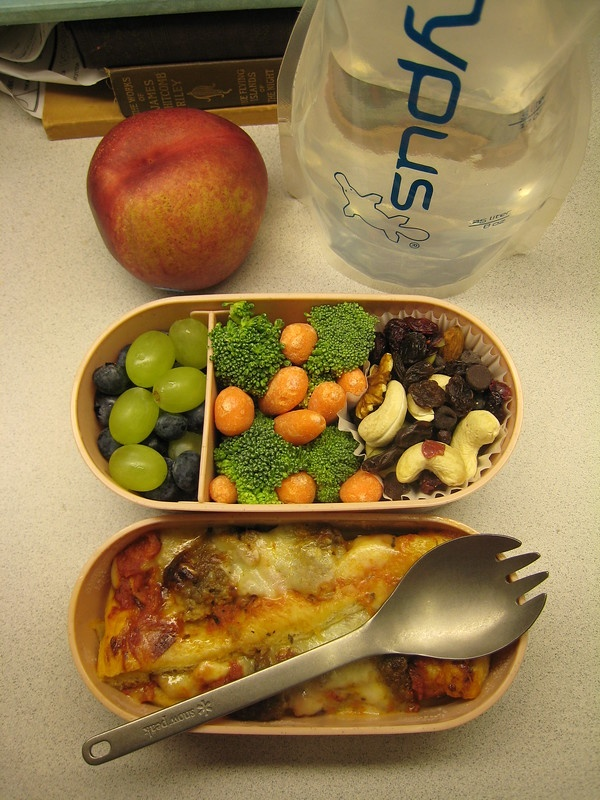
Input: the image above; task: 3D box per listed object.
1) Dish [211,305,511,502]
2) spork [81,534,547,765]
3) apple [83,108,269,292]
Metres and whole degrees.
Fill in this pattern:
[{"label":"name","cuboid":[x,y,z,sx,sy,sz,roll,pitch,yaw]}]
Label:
[{"label":"Dish","cuboid":[0.093,0.003,1.161,0.465,0.142,0.324,-1,69,-1]},{"label":"spork","cuboid":[-0.002,0.372,1.123,0.798,0.108,0.174,-20,71,2]},{"label":"apple","cuboid":[-0.159,-0.337,1.277,0.299,0.283,0.276,-9,69,9]}]
